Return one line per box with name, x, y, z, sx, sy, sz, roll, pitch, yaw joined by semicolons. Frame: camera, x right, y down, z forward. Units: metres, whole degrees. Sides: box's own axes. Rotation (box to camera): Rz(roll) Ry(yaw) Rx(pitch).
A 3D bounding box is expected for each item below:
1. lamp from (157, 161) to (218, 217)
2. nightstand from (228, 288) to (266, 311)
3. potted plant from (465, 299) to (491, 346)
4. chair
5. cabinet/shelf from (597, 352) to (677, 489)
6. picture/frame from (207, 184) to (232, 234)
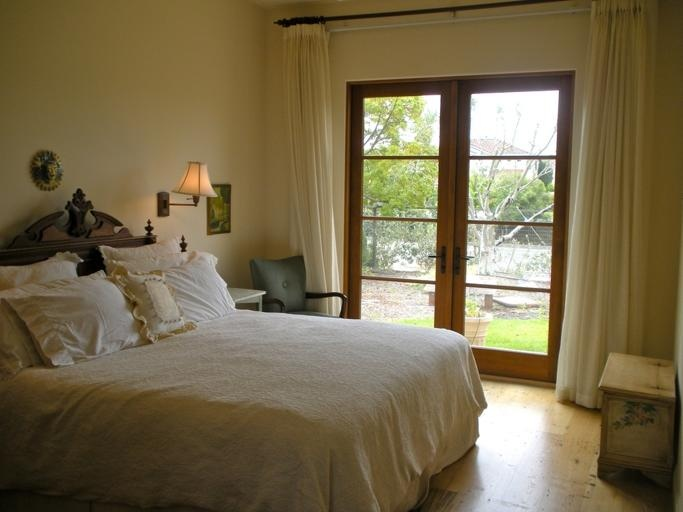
lamp;-1.193;-0.524;4.520;0.489;0.464;0.358;0;0;33
nightstand;-0.795;0.341;4.707;0.260;0.258;0.202;-1;1;-39
potted plant;1.268;0.628;5.229;0.351;0.387;0.354;1;-1;-3
chair;-0.445;0.201;5.356;0.638;1.003;0.644;-3;1;-38
cabinet/shelf;1.899;1.015;3.772;0.527;0.767;0.968;0;8;23
picture/frame;-1.107;-0.425;5.013;0.034;0.511;0.452;1;1;21
